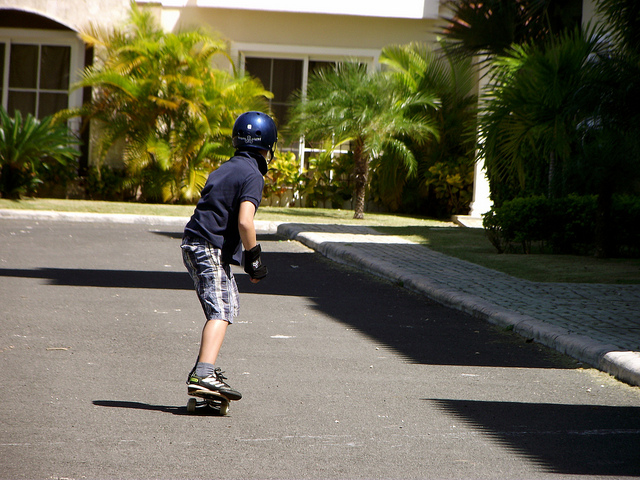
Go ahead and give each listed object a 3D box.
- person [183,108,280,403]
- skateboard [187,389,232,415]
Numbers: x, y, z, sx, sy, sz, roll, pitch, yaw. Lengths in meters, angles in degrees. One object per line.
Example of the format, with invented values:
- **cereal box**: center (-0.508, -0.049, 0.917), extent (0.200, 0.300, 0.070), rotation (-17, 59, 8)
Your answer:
- **person**: center (-0.667, 0.095, 5.861), extent (0.659, 2.066, 0.713), rotation (1, 8, -5)
- **skateboard**: center (-0.797, 1.152, 5.744), extent (0.307, 0.211, 0.214), rotation (0, 8, -10)
